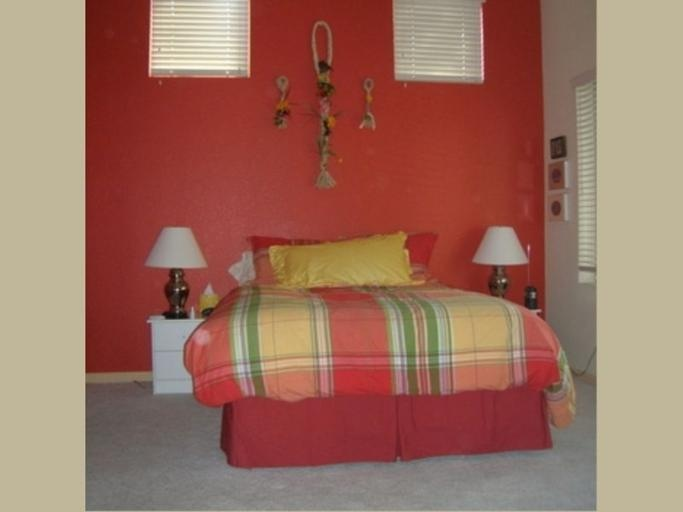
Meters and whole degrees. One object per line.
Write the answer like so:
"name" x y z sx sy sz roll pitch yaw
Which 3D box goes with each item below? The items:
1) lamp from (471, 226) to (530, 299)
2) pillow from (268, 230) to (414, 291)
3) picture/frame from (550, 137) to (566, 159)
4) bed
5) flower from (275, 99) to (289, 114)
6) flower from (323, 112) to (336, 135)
"lamp" 1.103 0.074 4.379 0.337 0.583 0.370 4 8 35
"pillow" 0.025 0.045 3.913 0.639 0.435 0.139 0 -41 -11
"picture/frame" 1.510 -0.755 4.340 0.019 0.167 0.154 3 -1 -24
"bed" 0.206 0.500 4.157 2.171 1.231 2.516 1 1 3
"flower" -0.403 -1.026 4.309 0.079 0.097 0.032 4 3 10
"flower" -0.080 -0.932 4.368 0.042 0.145 0.093 15 -11 29
